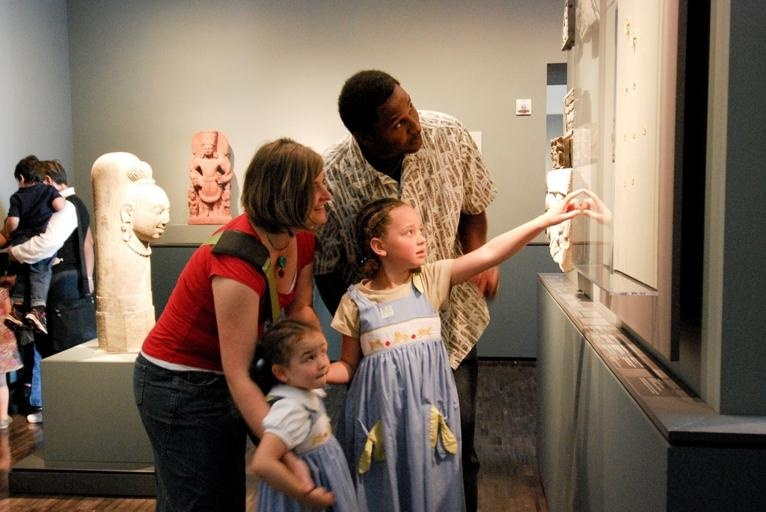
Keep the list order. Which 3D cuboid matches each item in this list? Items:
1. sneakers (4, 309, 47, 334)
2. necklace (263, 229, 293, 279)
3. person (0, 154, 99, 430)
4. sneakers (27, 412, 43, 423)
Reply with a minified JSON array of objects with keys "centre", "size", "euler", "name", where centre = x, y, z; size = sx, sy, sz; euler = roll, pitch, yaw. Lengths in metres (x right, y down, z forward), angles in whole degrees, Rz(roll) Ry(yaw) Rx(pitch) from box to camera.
[{"centre":[-2.636,0.480,4.451],"size":[0.207,0.103,0.087],"euler":[29,-49,-35],"name":"sneakers"},{"centre":[-0.371,-0.010,2.143],"size":[0.107,0.151,0.051],"euler":[-3,14,-38],"name":"necklace"},{"centre":[-2.559,0.241,4.787],"size":[0.616,1.975,0.502],"euler":[-6,6,-34],"name":"person"},{"centre":[-2.662,1.222,4.628],"size":[0.090,0.063,0.265],"euler":[-6,6,-35],"name":"sneakers"}]
